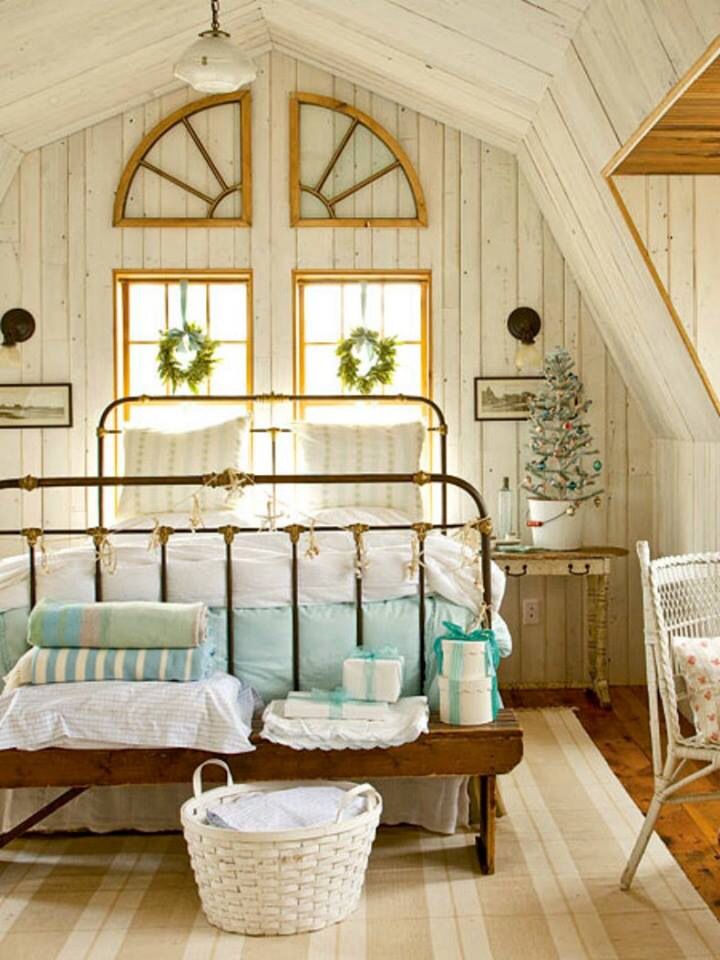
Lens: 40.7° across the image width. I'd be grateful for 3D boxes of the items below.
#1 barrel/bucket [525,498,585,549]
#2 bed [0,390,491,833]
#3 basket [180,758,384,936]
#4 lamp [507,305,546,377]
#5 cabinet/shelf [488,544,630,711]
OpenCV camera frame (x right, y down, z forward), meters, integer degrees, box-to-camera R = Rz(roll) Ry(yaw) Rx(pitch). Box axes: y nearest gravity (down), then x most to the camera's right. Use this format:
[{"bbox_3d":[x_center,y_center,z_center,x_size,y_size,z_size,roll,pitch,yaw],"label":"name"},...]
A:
[{"bbox_3d":[0.772,0.169,3.896,0.191,0.150,0.196,0,0,0],"label":"barrel/bucket"},{"bbox_3d":[-0.255,0.353,2.667,1.125,0.762,1.144,-1,1,1],"label":"bed"},{"bbox_3d":[-0.163,0.791,2.103,0.412,0.319,0.458,1,-11,19],"label":"basket"},{"bbox_3d":[0.682,-0.578,4.035,0.148,0.279,0.087,0,1,9],"label":"lamp"},{"bbox_3d":[0.818,0.569,3.902,0.546,0.622,0.517,0,1,9],"label":"cabinet/shelf"}]
